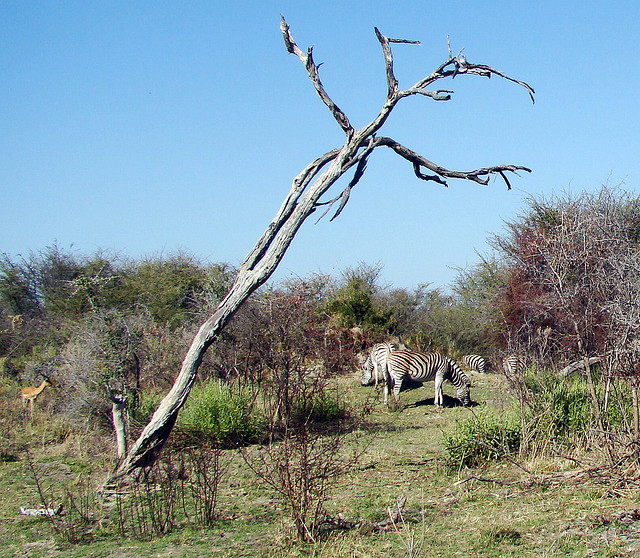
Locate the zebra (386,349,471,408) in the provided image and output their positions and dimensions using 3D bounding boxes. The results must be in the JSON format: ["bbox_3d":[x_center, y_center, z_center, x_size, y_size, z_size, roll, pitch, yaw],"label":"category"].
[{"bbox_3d":[2.760,2.126,16.139,2.543,1.691,0.840,0,-5,15],"label":"zebra"}]

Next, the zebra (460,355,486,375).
[{"bbox_3d":[4.206,2.318,20.450,0.853,0.530,0.298,12,3,3],"label":"zebra"}]
